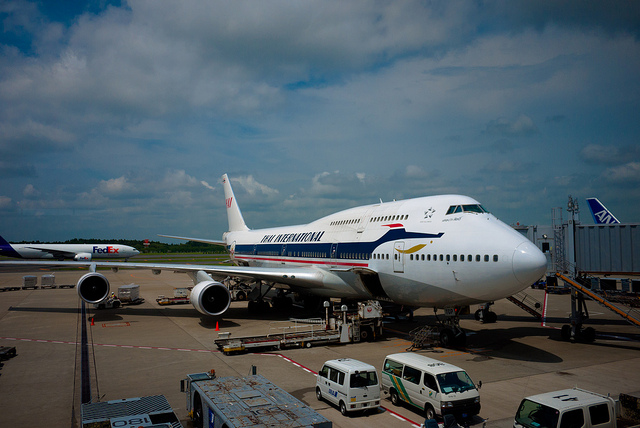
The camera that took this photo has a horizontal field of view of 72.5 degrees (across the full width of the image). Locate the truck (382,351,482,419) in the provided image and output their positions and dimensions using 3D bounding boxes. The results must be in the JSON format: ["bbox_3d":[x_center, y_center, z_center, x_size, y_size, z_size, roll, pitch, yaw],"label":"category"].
[{"bbox_3d":[4.587,7.419,19.364,2.305,1.525,3.619,2,-7,-28],"label":"truck"}]

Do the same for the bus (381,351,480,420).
[{"bbox_3d":[4.556,7.444,19.318,2.278,1.460,3.503,2,-5,-26],"label":"bus"}]

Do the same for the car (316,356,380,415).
[{"bbox_3d":[1.274,7.713,20.016,2.054,1.687,3.289,1,-7,-22],"label":"car"}]

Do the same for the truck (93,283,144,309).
[{"bbox_3d":[-18.782,7.585,40.215,4.041,1.368,2.582,-1,0,-37],"label":"truck"}]
